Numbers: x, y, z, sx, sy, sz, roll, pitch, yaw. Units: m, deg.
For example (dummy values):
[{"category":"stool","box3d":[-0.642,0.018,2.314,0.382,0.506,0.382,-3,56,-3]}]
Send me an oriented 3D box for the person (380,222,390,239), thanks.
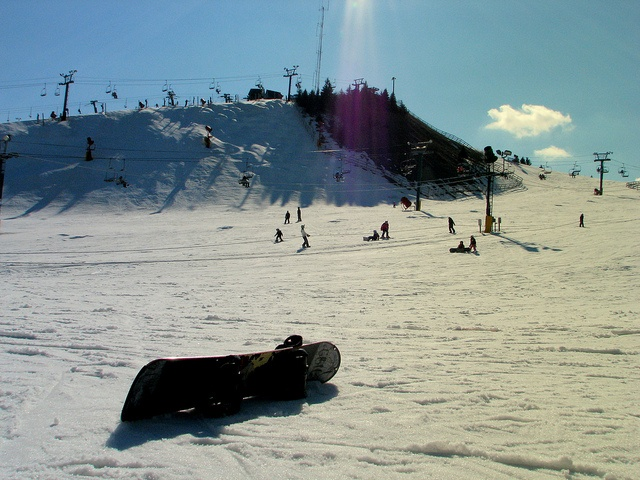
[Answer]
[{"category":"person","box3d":[4.072,-0.605,46.298,0.477,1.002,1.273,4,4,5]}]
